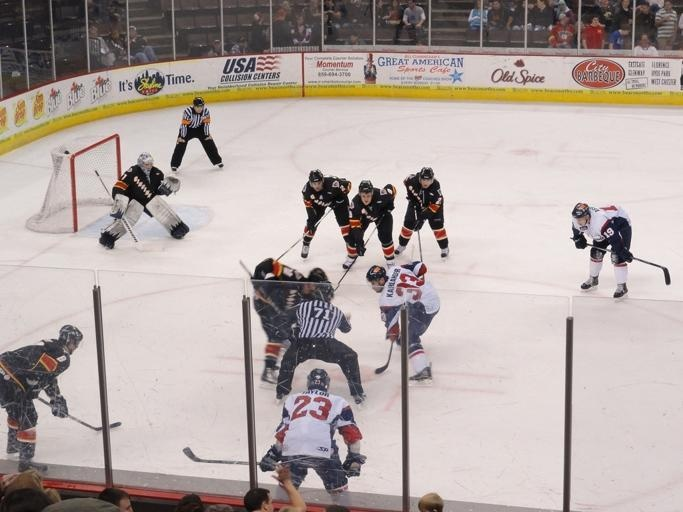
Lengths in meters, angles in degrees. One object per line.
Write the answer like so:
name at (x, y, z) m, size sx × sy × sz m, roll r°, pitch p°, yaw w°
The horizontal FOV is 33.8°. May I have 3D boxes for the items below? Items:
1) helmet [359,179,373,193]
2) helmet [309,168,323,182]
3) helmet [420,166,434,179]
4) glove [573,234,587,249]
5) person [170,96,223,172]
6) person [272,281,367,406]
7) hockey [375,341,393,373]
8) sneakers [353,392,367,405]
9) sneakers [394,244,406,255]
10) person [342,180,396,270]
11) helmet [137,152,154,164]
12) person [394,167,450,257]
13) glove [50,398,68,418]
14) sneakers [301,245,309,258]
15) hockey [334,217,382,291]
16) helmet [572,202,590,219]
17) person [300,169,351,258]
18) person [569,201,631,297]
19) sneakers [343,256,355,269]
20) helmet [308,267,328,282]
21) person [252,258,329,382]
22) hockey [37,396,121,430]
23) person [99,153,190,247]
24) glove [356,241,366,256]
helmet at (0.297, -0.859, 13.717) m, size 0.152 × 0.164 × 0.165 m, roll -1°, pitch 10°, yaw 2°
helmet at (-0.355, -0.989, 13.996) m, size 0.161 × 0.163 × 0.189 m, roll 0°, pitch 29°, yaw 12°
helmet at (1.049, -1.020, 13.844) m, size 0.149 × 0.131 × 0.186 m, roll -1°, pitch 6°, yaw -7°
glove at (2.831, -0.177, 13.219) m, size 0.163 × 0.144 × 0.158 m, roll -20°, pitch 17°, yaw -40°
person at (-2.418, -1.949, 17.977) m, size 0.904 × 1.212 × 1.049 m, roll 1°, pitch 7°, yaw 14°
person at (-0.191, 0.751, 9.665) m, size 0.857 × 0.987 × 0.578 m, roll 10°, pitch 39°, yaw 12°
hockey at (0.364, 0.846, 9.491) m, size 0.036 × 0.286 × 0.054 m, roll 25°, pitch 0°, yaw 41°
sneakers at (0.153, 1.212, 9.598) m, size 0.056 × 0.059 × 0.143 m, roll 2°, pitch 26°, yaw 17°
sneakers at (0.764, -0.085, 14.629) m, size 0.133 × 0.126 × 0.342 m, roll 0°, pitch 3°, yaw 12°
person at (0.348, -0.393, 14.072) m, size 0.663 × 1.109 × 0.750 m, roll 3°, pitch 7°, yaw 28°
helmet at (-2.591, -1.267, 14.556) m, size 0.154 × 0.129 × 0.275 m, roll -2°, pitch 6°, yaw -16°
person at (1.053, -0.553, 14.263) m, size 0.584 × 1.145 × 0.847 m, roll -4°, pitch 7°, yaw -25°
glove at (-2.539, 1.347, 9.957) m, size 0.183 × 0.162 × 0.068 m, roll 4°, pitch 9°, yaw 1°
sneakers at (-0.478, -0.050, 14.306) m, size 0.069 × 0.182 × 0.084 m, roll 4°, pitch -23°, yaw -7°
hockey at (0.186, -0.021, 13.463) m, size 1.019 × 0.054 × 0.150 m, roll -53°, pitch 24°, yaw -20°
helmet at (2.760, -0.515, 12.919) m, size 0.172 × 0.188 × 0.220 m, roll 15°, pitch 45°, yaw 33°
person at (-0.214, -0.543, 14.340) m, size 0.751 × 1.195 × 0.665 m, roll -7°, pitch 21°, yaw -6°
person at (3.094, -0.090, 13.156) m, size 0.687 × 1.065 × 0.772 m, roll 1°, pitch 7°, yaw 13°
sneakers at (0.079, 0.091, 14.180) m, size 0.078 × 0.086 × 0.221 m, roll 10°, pitch 37°, yaw 16°
helmet at (-0.261, 0.195, 11.310) m, size 0.129 × 0.152 × 0.163 m, roll 0°, pitch -16°, yaw 22°
person at (-0.469, 0.607, 9.863) m, size 0.413 × 0.431 × 1.054 m, roll -2°, pitch -12°, yaw -14°
hockey at (-2.357, 1.400, 9.928) m, size 0.800 × 0.297 × 0.020 m, roll 1°, pitch 7°, yaw 11°
person at (-2.750, -0.720, 15.323) m, size 1.389 × 1.236 × 0.795 m, roll -8°, pitch 18°, yaw -27°
glove at (0.230, -0.096, 14.041) m, size 0.122 × 0.142 × 0.132 m, roll 6°, pitch 40°, yaw -2°
